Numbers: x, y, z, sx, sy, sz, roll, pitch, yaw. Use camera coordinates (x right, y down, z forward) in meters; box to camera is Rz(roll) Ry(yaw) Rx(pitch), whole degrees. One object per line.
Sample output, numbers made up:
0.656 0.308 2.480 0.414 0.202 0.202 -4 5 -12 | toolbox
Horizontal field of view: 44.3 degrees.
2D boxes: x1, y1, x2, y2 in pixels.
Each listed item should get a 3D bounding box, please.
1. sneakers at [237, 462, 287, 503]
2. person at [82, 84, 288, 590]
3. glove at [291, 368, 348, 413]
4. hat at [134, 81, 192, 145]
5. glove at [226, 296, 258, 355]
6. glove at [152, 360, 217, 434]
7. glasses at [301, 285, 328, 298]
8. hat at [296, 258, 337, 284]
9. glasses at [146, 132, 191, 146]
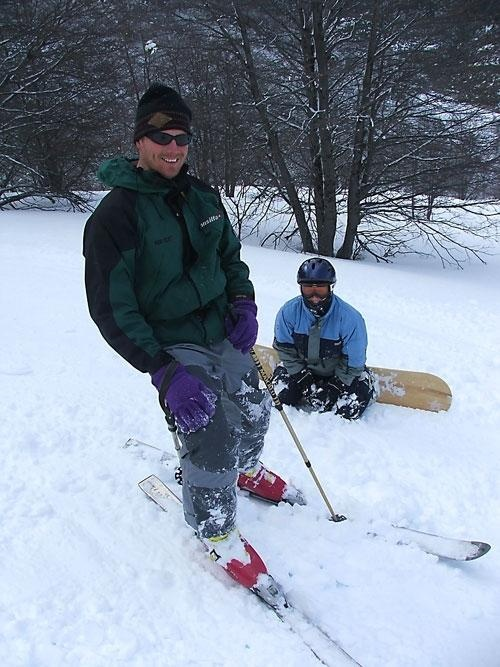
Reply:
0.087 0.973 4.005 0.451 0.146 0.178 20 -15 16 | sneakers
-0.334 -0.049 3.201 1.018 2.390 0.810 -3 17 -17 | person
0.531 0.466 5.020 0.112 0.377 0.360 33 28 -44 | glove
-0.439 -1.095 3.037 0.291 0.277 0.304 -5 27 -21 | hat
-0.041 -0.048 3.346 0.224 0.255 0.103 2 -12 -14 | glove
-0.361 0.307 3.065 0.292 0.355 0.123 -36 10 -17 | glove
0.491 -0.323 4.653 0.118 0.062 0.141 0 -5 12 | glasses
0.509 -0.493 4.640 0.208 0.176 0.244 4 35 15 | hat
-0.392 -0.977 3.083 0.255 0.068 0.092 -9 19 -36 | glasses
